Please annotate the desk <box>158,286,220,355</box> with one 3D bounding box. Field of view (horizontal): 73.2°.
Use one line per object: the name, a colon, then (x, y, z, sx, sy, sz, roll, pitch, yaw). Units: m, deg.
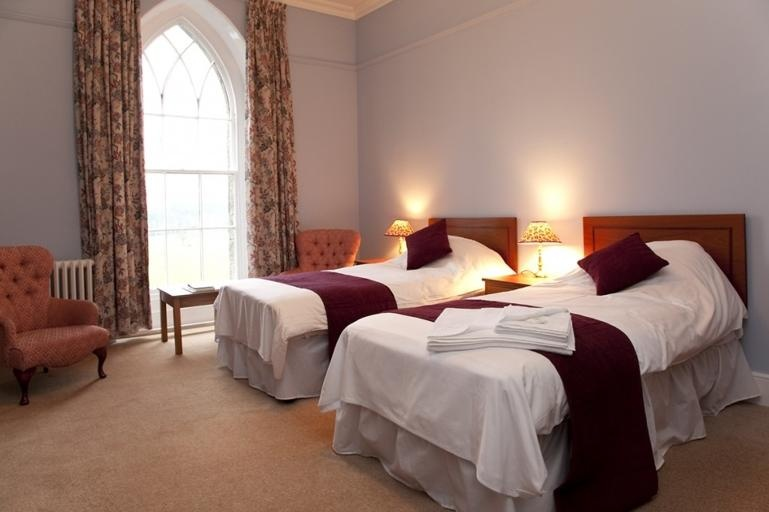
desk: (-2.100, 0.619, 5.542, 0.689, 0.659, 0.692, 3, 4, 43)
